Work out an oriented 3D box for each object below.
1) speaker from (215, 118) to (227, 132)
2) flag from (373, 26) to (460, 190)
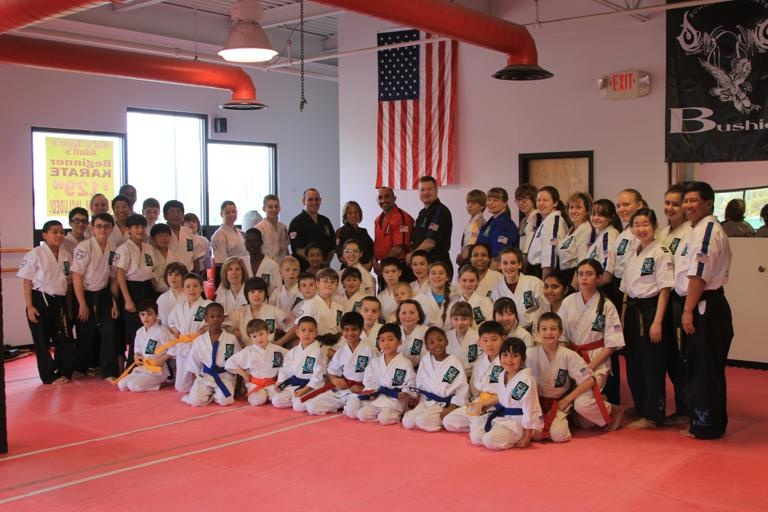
[{"bbox_3d":[-3.164,-2.558,13.200,0.104,0.302,0.261,7,13,40],"label":"speaker"},{"bbox_3d":[0.520,-2.245,10.956,1.424,2.337,0.368,4,11,30],"label":"flag"}]
